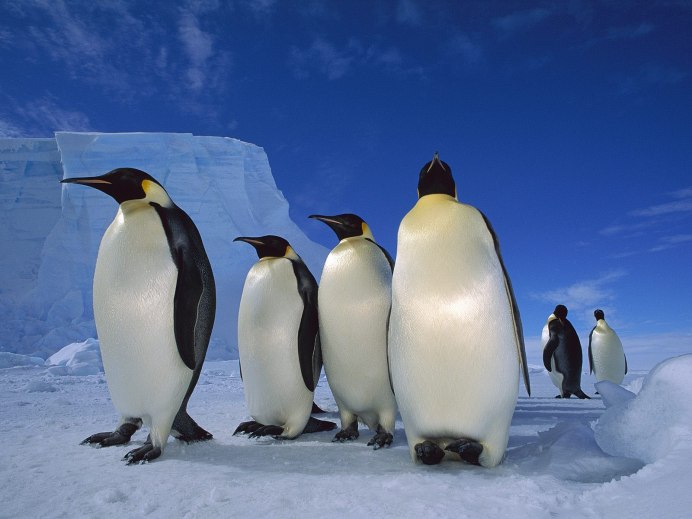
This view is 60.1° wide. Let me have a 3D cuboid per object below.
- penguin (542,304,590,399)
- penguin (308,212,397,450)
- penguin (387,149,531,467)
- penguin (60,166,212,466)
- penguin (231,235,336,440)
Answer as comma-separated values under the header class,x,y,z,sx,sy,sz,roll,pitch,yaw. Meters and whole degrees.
class,x,y,z,sx,sy,sz,roll,pitch,yaw
penguin,2.578,1.089,7.177,0.549,1.033,0.492,6,-7,-11
penguin,0.126,0.386,3.627,0.562,1.321,0.523,2,5,19
penguin,0.559,0.283,3.017,0.675,1.497,0.420,-1,2,-6
penguin,-1.051,0.262,3.160,0.673,1.554,0.509,-1,2,-10
penguin,-0.383,0.484,3.849,0.685,1.227,0.604,-1,-10,4
